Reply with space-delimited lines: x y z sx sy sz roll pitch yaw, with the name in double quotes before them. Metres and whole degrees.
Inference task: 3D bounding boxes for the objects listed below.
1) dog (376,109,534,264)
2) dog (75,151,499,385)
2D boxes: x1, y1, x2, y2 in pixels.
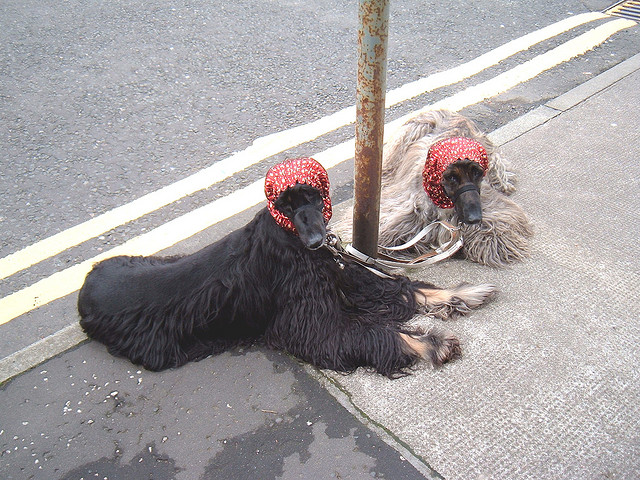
"dog" 0.883 -0.505 4.437 1.136 0.609 1.532 -3 32 4
"dog" -0.209 0.138 3.665 2.517 1.065 1.035 -1 19 7
